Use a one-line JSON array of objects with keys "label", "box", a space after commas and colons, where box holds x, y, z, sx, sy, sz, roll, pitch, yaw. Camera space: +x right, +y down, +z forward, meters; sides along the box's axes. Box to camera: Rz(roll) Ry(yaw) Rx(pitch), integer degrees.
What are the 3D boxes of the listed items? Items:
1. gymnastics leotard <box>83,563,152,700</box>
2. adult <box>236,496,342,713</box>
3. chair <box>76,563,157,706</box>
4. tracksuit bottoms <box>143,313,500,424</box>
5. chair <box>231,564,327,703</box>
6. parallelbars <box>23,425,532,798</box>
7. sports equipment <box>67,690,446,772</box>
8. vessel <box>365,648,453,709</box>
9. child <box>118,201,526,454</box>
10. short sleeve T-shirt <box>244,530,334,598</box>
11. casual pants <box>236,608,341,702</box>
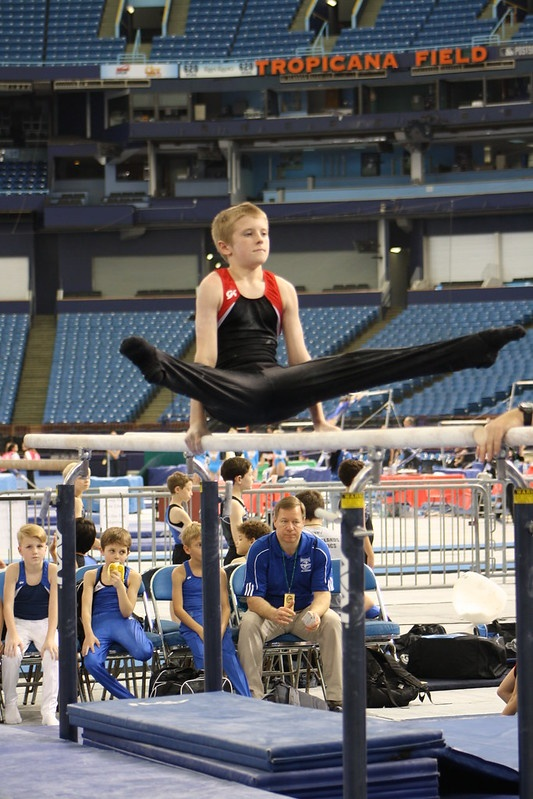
[{"label": "gymnastics leotard", "box": [-1.076, 1.621, 12.049, 0.473, 1.168, 0.641, -3, -4, -1]}, {"label": "adult", "box": [0.165, 1.472, 11.966, 0.928, 1.482, 0.913, -4, 5, -44]}, {"label": "chair", "box": [-1.078, 1.629, 12.102, 0.490, 1.165, 0.641, -2, -4, 1]}, {"label": "tracksuit bottoms", "box": [0.308, -0.132, 9.777, 1.304, 0.385, 0.814, -10, -14, 5]}, {"label": "chair", "box": [0.104, 1.773, 12.319, 0.456, 0.691, 0.392, -4, -3, 7]}, {"label": "parallelbars", "box": [0.161, 1.201, 9.846, 3.491, 2.070, 1.473, -5, -8, 43]}, {"label": "sports equipment", "box": [0.141, 2.052, 10.098, 1.108, 0.144, 2.148, 0, -6, -20]}, {"label": "vessel", "box": [0.989, 2.094, 12.234, 0.487, 0.525, 0.447, -7, -8, -4]}, {"label": "child", "box": [0.040, -0.746, 9.856, 1.882, 1.187, 1.710, 2, -9, -31]}, {"label": "short sleeve T-shirt", "box": [0.188, 1.255, 12.178, 0.637, 0.598, 0.354, -1, -16, 11]}, {"label": "casual pants", "box": [0.212, 1.855, 12.193, 0.414, 0.601, 0.448, -9, -14, 38]}]
